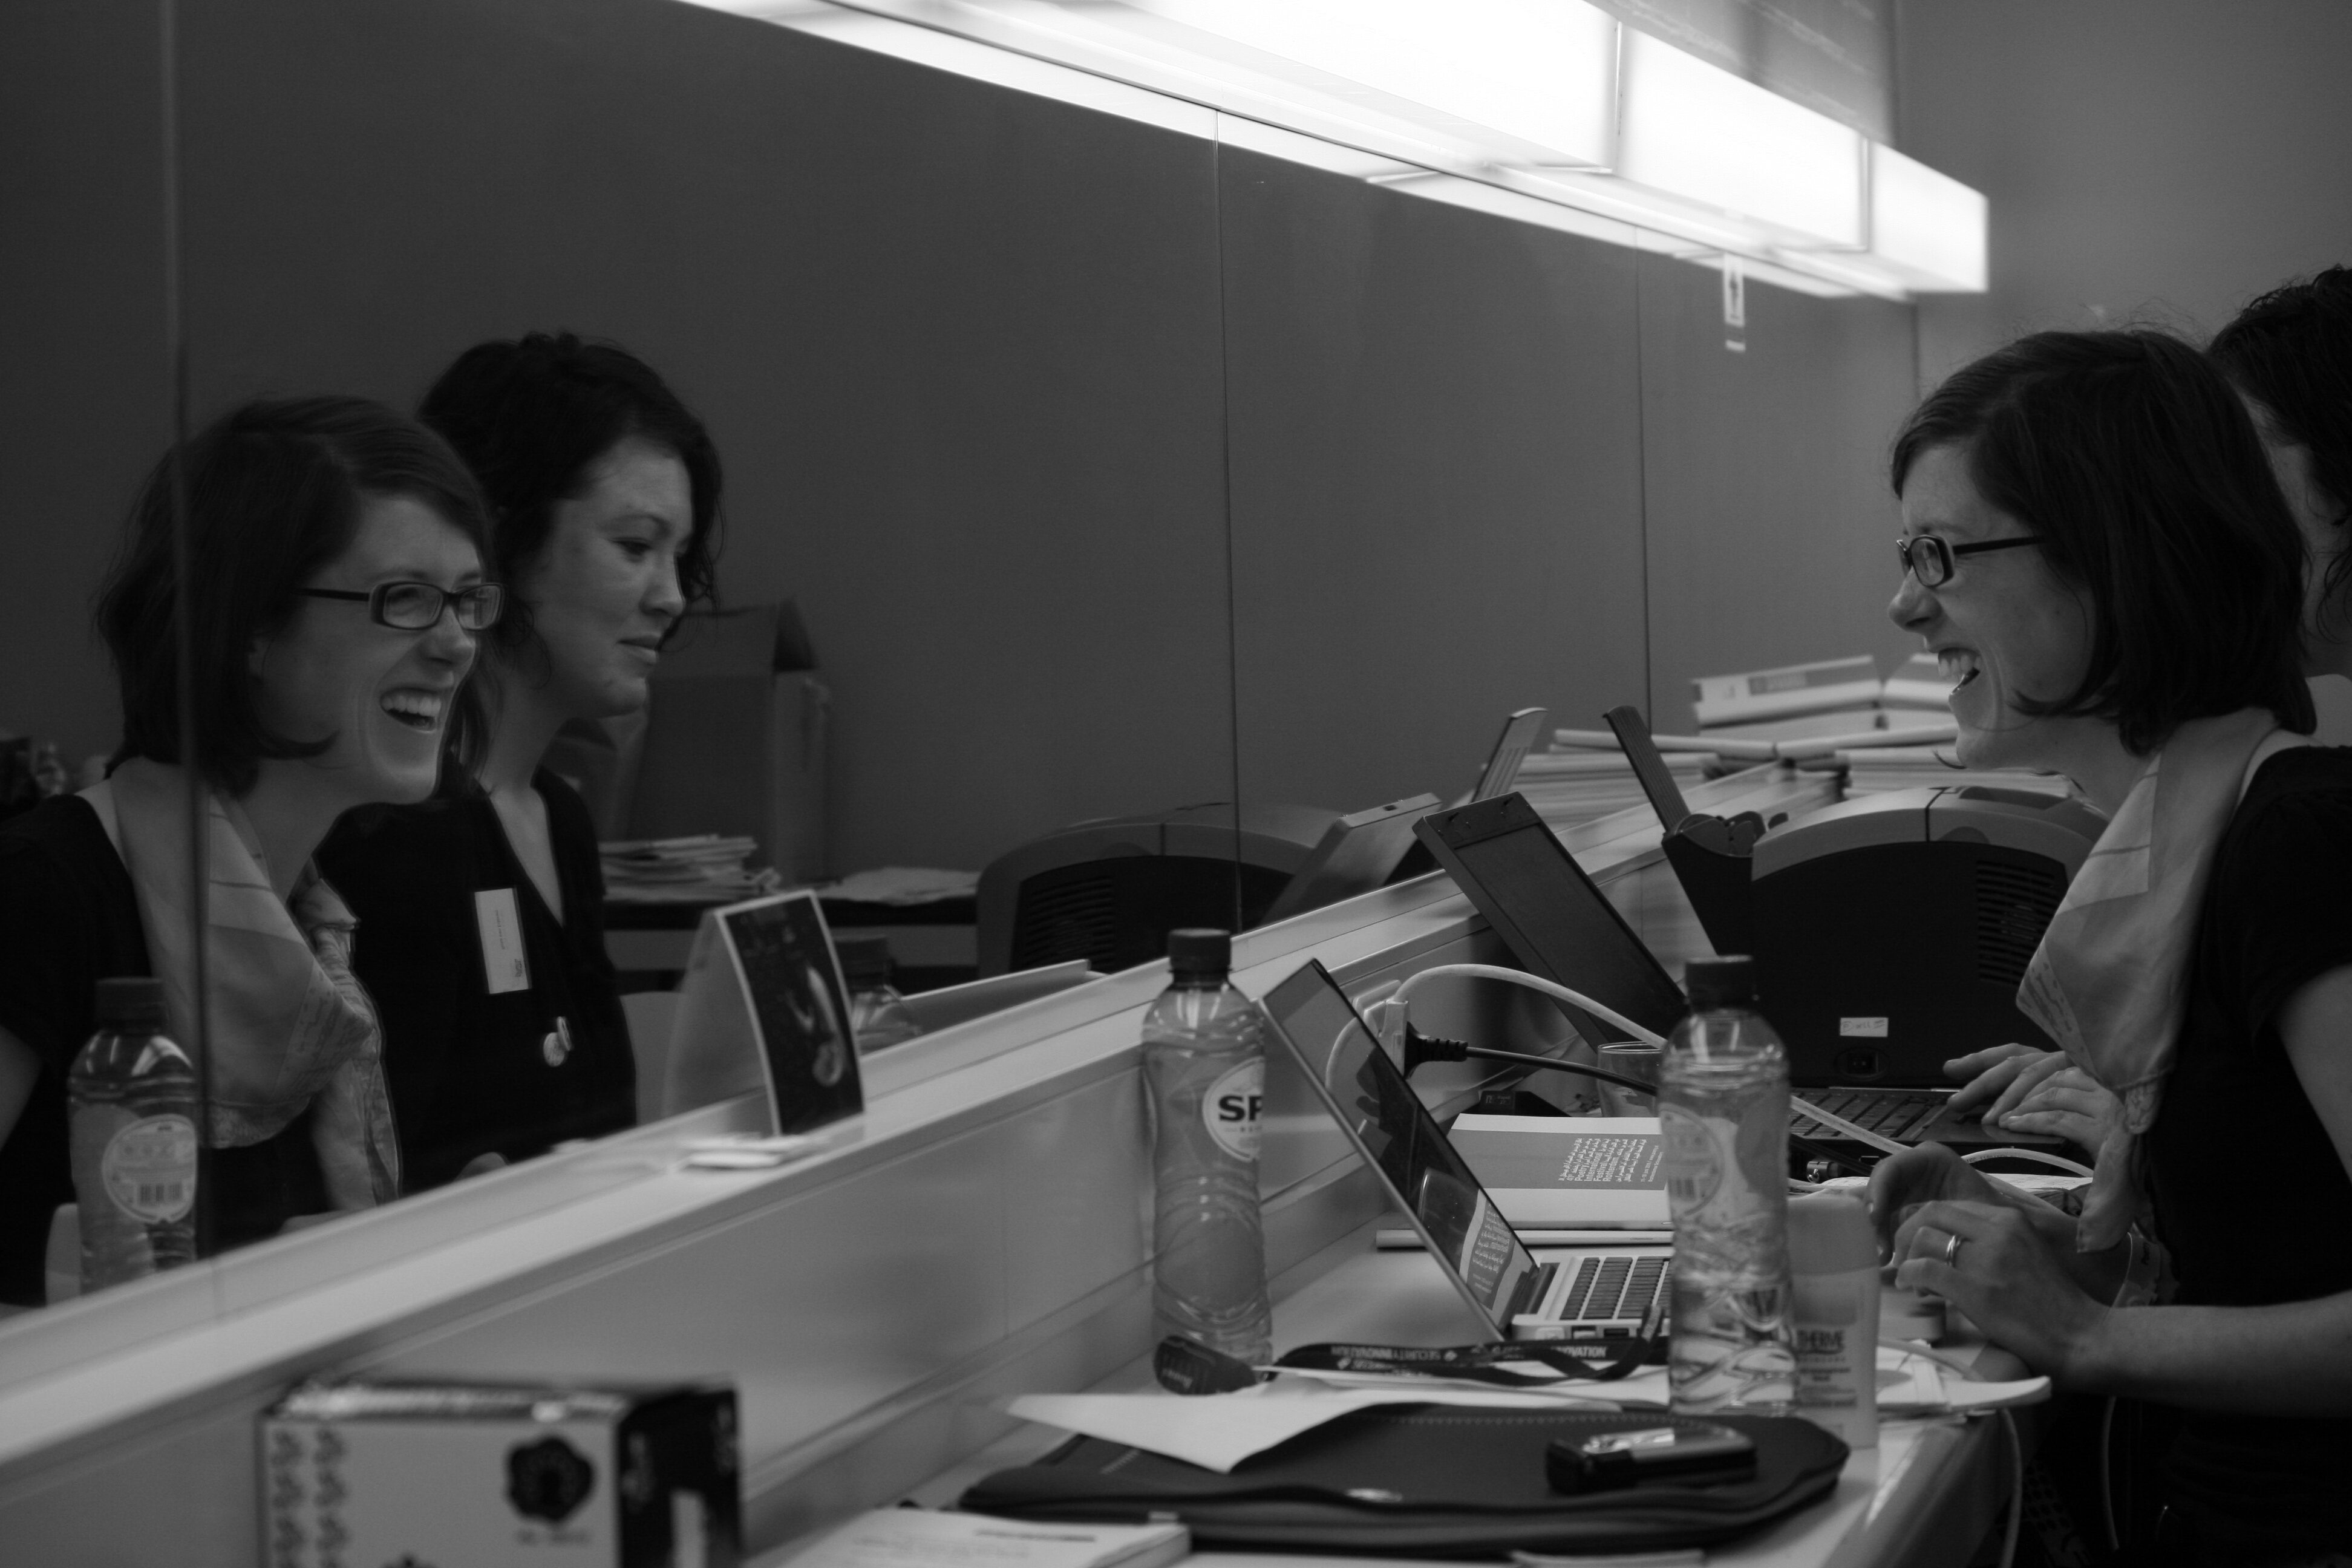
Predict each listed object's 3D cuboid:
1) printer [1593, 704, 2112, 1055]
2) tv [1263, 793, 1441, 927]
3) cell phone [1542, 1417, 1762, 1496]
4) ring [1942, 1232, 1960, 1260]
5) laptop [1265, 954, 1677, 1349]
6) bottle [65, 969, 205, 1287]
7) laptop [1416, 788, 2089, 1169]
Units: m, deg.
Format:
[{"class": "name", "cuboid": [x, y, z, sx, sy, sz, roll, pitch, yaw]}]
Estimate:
[{"class": "printer", "cuboid": [1.153, 0.159, 2.825, 0.541, 0.542, 0.812, 3, -9, -32]}, {"class": "tv", "cuboid": [0.229, 0.102, 2.516, 0.177, 0.031, 0.302, -12, -32, -42]}, {"class": "cell phone", "cuboid": [0.343, 0.487, 1.394, 0.159, 0.042, 0.114, -3, 0, -7]}, {"class": "ring", "cuboid": [0.709, 0.419, 1.717, 0.014, 0.018, 0.019, 4, 1, 12]}, {"class": "laptop", "cuboid": [0.279, 0.345, 1.855, 0.421, 0.285, 0.291, 0, 10, 13]}, {"class": "bottle", "cuboid": [-0.627, 0.206, 1.132, 0.023, 0.204, 0.073, -3, 1, 37]}, {"class": "laptop", "cuboid": [0.737, 0.189, 2.527, 0.724, 0.290, 0.417, 11, 16, 15]}]
